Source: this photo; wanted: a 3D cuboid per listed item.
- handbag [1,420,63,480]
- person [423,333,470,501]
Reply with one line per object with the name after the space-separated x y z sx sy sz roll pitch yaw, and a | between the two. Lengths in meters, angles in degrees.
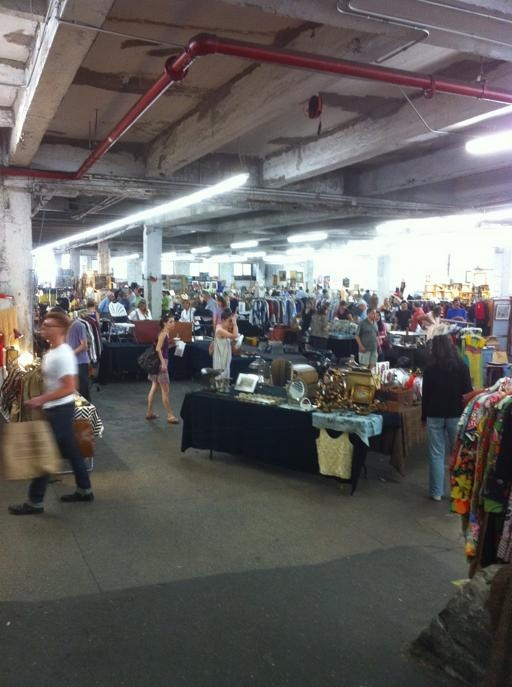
-1.183 0.557 2.706 0.128 0.306 0.341 1 2 21 | handbag
1.523 0.567 4.125 0.316 1.380 0.337 0 2 -40 | person
